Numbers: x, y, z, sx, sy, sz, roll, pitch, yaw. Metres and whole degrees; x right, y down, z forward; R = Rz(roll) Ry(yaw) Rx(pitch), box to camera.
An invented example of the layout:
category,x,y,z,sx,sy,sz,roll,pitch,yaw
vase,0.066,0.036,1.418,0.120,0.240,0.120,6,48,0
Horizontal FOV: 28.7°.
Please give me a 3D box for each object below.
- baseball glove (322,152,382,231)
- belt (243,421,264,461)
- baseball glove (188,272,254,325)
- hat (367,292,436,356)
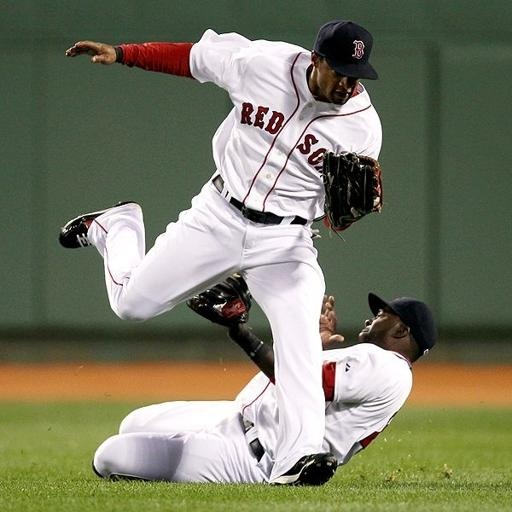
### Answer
category,x,y,z,sx,sy,sz,roll,pitch,yaw
baseball glove,0.438,-0.294,4.607,0.234,0.339,0.196,8,2,28
belt,-0.016,0.858,4.655,0.157,0.038,0.112,60,0,13
baseball glove,-0.151,0.226,4.971,0.281,0.234,0.219,45,-7,11
hat,0.778,0.305,4.955,0.359,0.186,0.257,47,12,14
